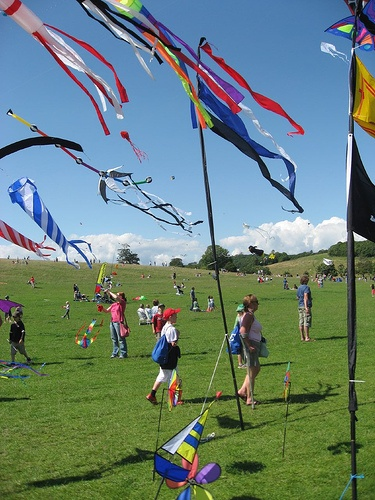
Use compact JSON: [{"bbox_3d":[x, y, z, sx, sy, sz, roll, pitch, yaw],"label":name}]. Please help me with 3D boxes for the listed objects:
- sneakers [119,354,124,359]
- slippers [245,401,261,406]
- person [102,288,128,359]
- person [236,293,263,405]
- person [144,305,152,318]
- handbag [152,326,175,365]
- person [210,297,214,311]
[{"bbox_3d":[-1.912,3.163,13.250,0.170,0.065,0.059,16,-18,-27],"label":"sneakers"},{"bbox_3d":[1.188,2.752,8.077,0.217,0.050,0.095,1,-3,-15],"label":"slippers"},{"bbox_3d":[-2.094,2.259,13.405,0.660,1.494,1.920,-5,-2,-11],"label":"person"},{"bbox_3d":[1.104,1.794,8.118,0.521,1.713,1.178,-6,-2,7],"label":"person"},{"bbox_3d":[-2.118,3.337,24.793,0.421,0.776,0.264,1,-18,-26],"label":"person"},{"bbox_3d":[-0.428,1.722,8.124,0.311,0.551,0.491,-7,-3,40],"label":"handbag"},{"bbox_3d":[1.736,3.815,31.607,0.319,0.758,1.199,-6,-2,4],"label":"person"}]
